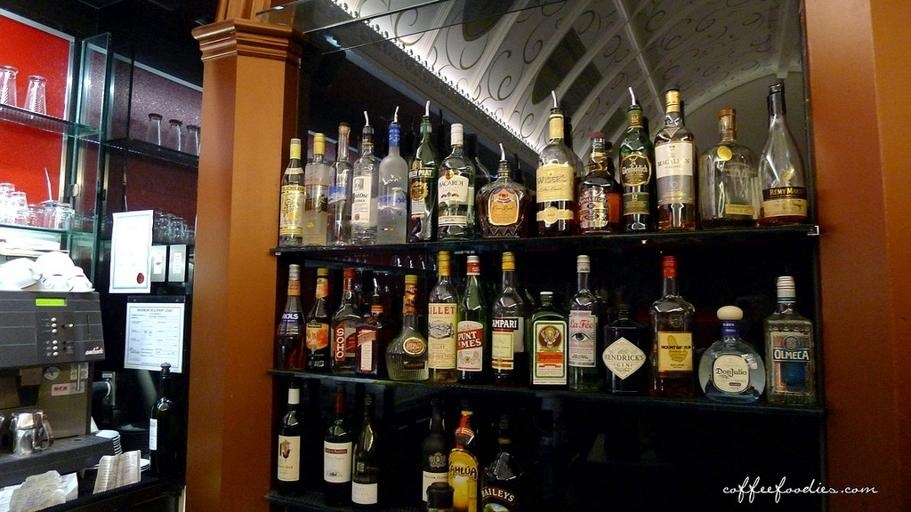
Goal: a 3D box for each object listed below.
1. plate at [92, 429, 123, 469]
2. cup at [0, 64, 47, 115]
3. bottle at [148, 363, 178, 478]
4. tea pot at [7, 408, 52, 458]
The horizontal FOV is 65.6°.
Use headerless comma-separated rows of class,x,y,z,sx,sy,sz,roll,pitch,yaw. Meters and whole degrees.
plate,-1.989,1.117,4.133,0.200,0.157,0.169,1,4,-5
cup,-2.748,-1.030,4.517,0.251,0.316,0.307,1,-6,-26
bottle,-1.690,0.956,4.112,0.141,0.638,0.084,-1,-6,-7
tea pot,-2.256,0.945,3.759,0.239,0.198,0.174,0,-2,34
